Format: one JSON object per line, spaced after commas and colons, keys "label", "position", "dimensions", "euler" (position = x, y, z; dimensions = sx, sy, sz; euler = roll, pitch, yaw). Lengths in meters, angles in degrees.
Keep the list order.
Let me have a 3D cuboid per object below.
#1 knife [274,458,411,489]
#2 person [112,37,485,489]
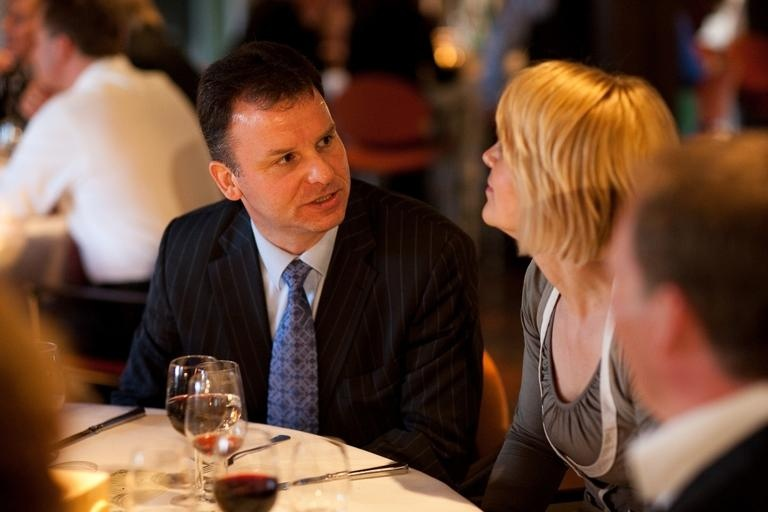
{"label": "knife", "position": [-0.088, 0.462, 1.613], "dimensions": [0.337, 0.030, 0.051], "euler": [-4, 5, -22]}
{"label": "person", "position": [-0.191, 0.018, 2.462], "dimensions": [1.103, 1.661, 1.146], "euler": [-1, 6, -5]}
